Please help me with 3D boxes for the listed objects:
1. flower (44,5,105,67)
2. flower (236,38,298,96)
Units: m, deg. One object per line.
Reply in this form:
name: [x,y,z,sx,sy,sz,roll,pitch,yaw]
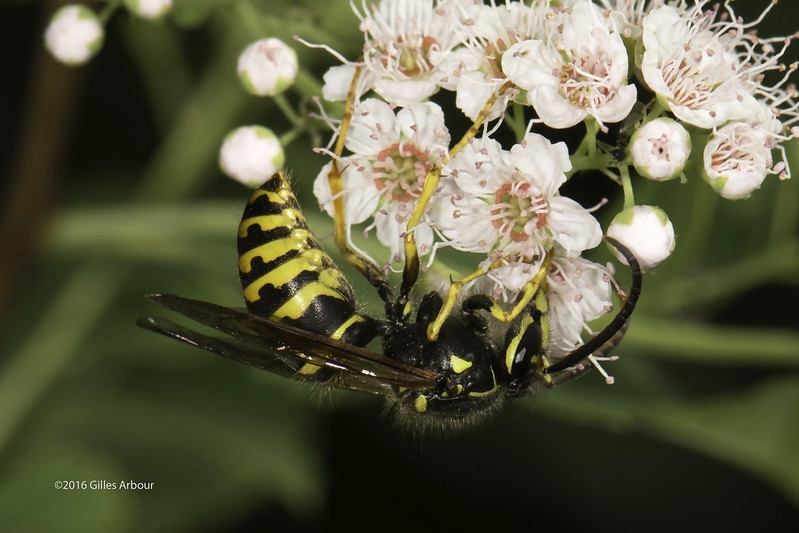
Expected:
flower: [-0.713,-0.500,1.863,0.120,0.125,0.067,28,0,-14]
flower: [-0.275,-0.422,1.781,0.115,0.124,0.089,-3,4,-15]
